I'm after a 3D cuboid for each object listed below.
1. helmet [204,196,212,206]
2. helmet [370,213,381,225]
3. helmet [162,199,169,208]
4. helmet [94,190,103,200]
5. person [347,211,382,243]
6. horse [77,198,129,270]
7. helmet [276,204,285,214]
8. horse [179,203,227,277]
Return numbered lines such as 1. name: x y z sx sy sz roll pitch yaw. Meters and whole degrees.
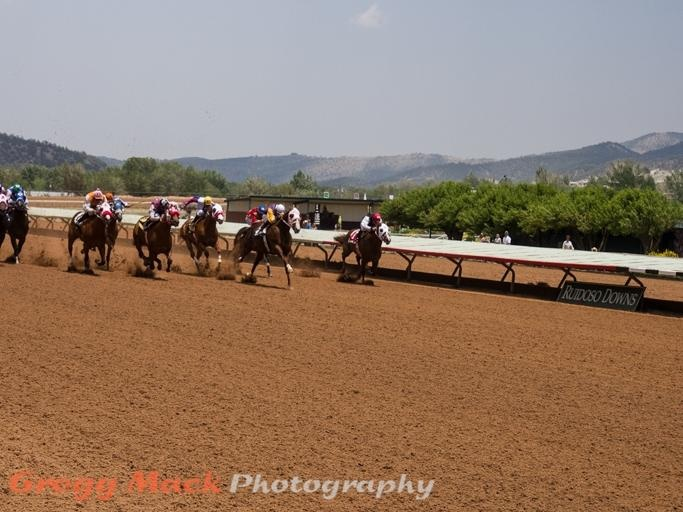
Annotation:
1. helmet: -4.699 -1.967 20.133 0.232 0.357 0.195 5 -46 -20
2. helmet: 1.169 -1.270 19.299 0.298 0.465 0.398 -2 -39 -9
3. helmet: -5.553 -1.628 18.016 0.198 0.289 0.267 2 -4 0
4. helmet: -7.702 -1.941 18.173 0.204 0.220 0.300 12 24 -35
5. person: 0.800 -0.870 19.772 0.598 0.775 1.654 4 -23 -37
6. horse: -7.883 -0.584 19.460 0.601 2.039 2.901 8 -14 -29
7. helmet: -1.951 -1.464 18.053 0.218 0.326 0.301 13 -1 29
8. horse: -5.053 -0.612 20.737 1.019 2.518 4.042 0 1 -33
